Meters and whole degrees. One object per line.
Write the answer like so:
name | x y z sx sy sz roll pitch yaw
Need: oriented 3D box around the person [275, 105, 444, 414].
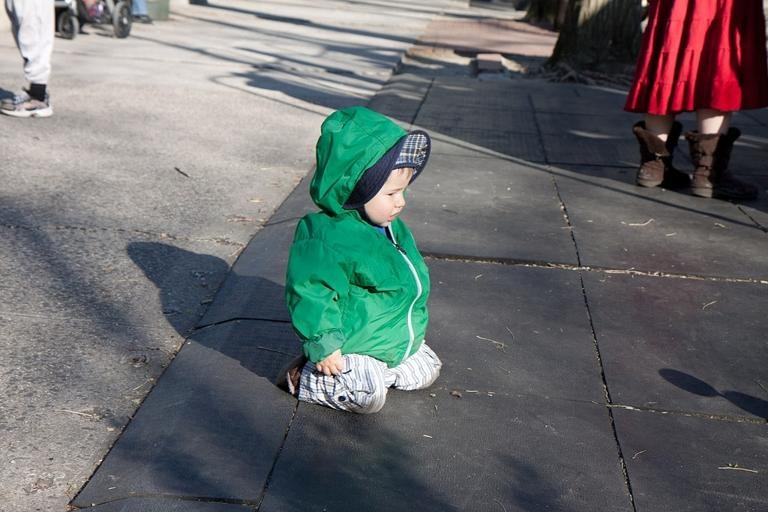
person | -0.045 0.046 3.134 0.775 1.372 0.792 6 34 -7

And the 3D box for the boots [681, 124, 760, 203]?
boots | 2.588 -0.698 5.453 0.819 0.479 0.380 4 -1 -31
